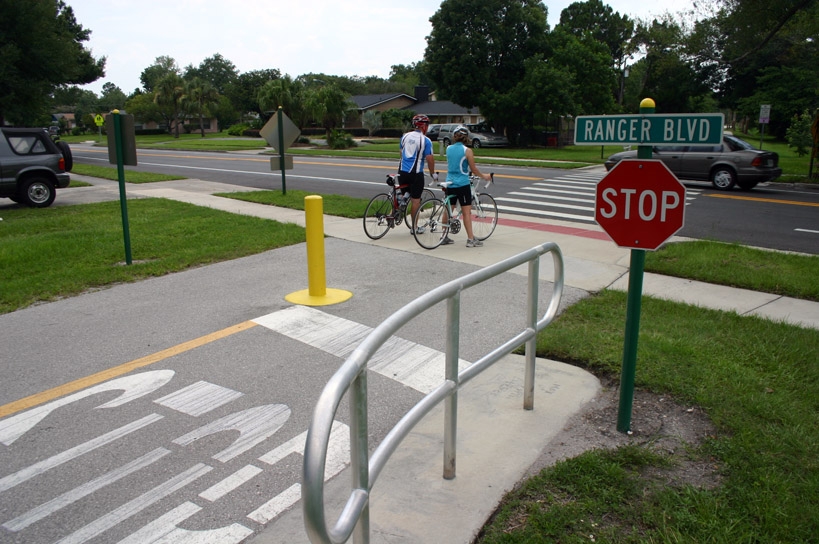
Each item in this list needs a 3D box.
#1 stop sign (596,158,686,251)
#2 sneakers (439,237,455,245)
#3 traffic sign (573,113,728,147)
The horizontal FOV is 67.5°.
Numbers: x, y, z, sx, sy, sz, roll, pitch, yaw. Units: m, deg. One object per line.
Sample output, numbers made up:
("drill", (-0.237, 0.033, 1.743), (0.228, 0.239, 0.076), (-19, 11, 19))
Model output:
("stop sign", (2.072, -0.621, 5.576), (0.743, 0.823, 0.237), (8, 16, 20))
("sneakers", (0.736, -0.628, 12.051), (0.348, 0.158, 0.118), (-4, 10, -44))
("traffic sign", (2.133, -1.321, 5.596), (1.274, 0.357, 0.333), (11, 19, 26))
